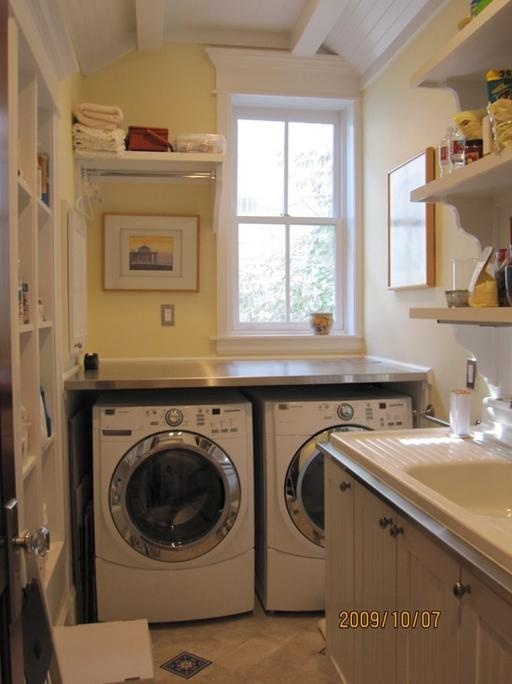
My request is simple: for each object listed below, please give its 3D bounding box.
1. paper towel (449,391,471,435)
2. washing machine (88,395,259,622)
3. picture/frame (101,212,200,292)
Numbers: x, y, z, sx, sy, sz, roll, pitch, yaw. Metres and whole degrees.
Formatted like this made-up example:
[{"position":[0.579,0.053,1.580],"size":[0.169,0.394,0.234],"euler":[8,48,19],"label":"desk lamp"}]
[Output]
[{"position":[0.596,0.206,1.653],"size":[0.051,0.133,0.059],"euler":[-5,8,-21],"label":"paper towel"},{"position":[-0.312,0.642,2.555],"size":[0.759,1.211,0.753],"euler":[0,-1,-8],"label":"washing machine"},{"position":[-0.578,-0.475,2.938],"size":[0.377,0.354,0.014],"euler":[0,0,-10],"label":"picture/frame"}]
